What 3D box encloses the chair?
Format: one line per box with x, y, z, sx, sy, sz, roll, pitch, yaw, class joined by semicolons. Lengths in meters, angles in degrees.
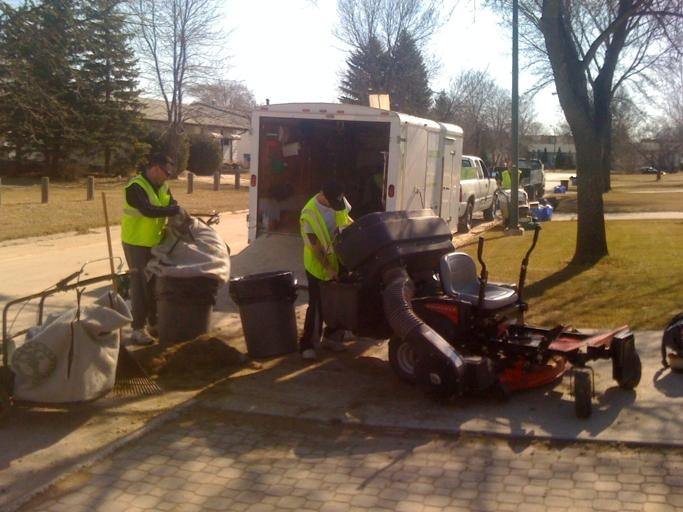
1.373;0.243;6.007;0.708;0.502;0.698;-10;7;-44;chair

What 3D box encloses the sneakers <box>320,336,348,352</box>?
-0.084;1.080;7.308;0.371;0.192;0.141;0;3;15;sneakers

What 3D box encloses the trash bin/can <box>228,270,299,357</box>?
-0.868;0.666;7.335;0.804;1.033;0.945;-12;-1;40;trash bin/can

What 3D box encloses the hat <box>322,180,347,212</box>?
-0.086;-0.666;6.787;0.203;0.343;0.181;-27;-14;-15;hat

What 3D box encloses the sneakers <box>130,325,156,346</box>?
-2.444;0.997;7.297;0.171;0.092;0.249;-7;22;-15;sneakers

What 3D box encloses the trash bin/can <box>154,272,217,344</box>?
-1.851;0.627;7.271;0.644;0.856;0.721;3;-5;-13;trash bin/can

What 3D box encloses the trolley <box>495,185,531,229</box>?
5.280;-1.500;18.238;0.737;0.553;1.607;-2;22;5;trolley

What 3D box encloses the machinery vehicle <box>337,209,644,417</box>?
1.372;0.603;6.017;2.703;1.682;1.788;4;9;34;machinery vehicle

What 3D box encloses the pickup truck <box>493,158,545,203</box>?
8.851;-3.624;29.106;2.240;2.369;4.254;6;18;25;pickup truck

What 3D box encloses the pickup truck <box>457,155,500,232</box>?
3.935;-1.968;18.437;1.486;1.581;3.030;3;22;26;pickup truck
